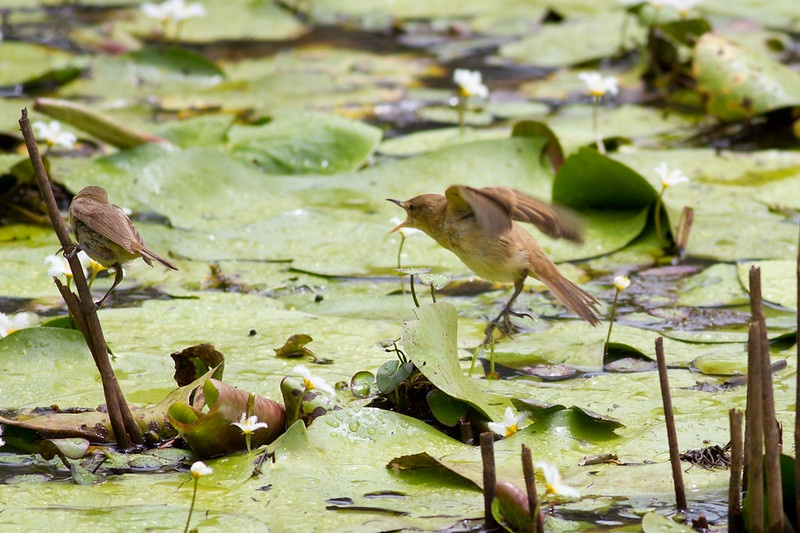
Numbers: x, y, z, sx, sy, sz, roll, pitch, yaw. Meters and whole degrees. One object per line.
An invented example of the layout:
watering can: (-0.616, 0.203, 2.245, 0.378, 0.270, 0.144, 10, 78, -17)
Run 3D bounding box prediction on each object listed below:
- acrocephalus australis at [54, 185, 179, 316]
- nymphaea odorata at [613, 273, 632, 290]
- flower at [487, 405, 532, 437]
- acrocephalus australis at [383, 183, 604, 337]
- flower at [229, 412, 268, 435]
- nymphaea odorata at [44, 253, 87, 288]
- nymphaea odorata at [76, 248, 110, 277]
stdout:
acrocephalus australis: (-1.121, -0.117, 3.402, 0.581, 0.391, 0.256, 7, -4, 23)
nymphaea odorata: (1.083, 0.075, 4.161, 0.098, 0.077, 0.085, -3, 9, -38)
flower: (0.415, 0.593, 3.271, 0.152, 0.062, 0.136, -14, 37, 7)
acrocephalus australis: (0.434, -0.046, 3.984, 1.146, 0.588, 0.995, 7, -7, 5)
flower: (-0.551, 0.572, 3.139, 0.105, 0.052, 0.091, 10, -1, -35)
nymphaea odorata: (-1.416, 0.014, 3.652, 0.164, 0.071, 0.163, -12, 23, -35)
nymphaea odorata: (-1.297, -0.023, 3.619, 0.168, 0.098, 0.089, 17, 6, 20)
